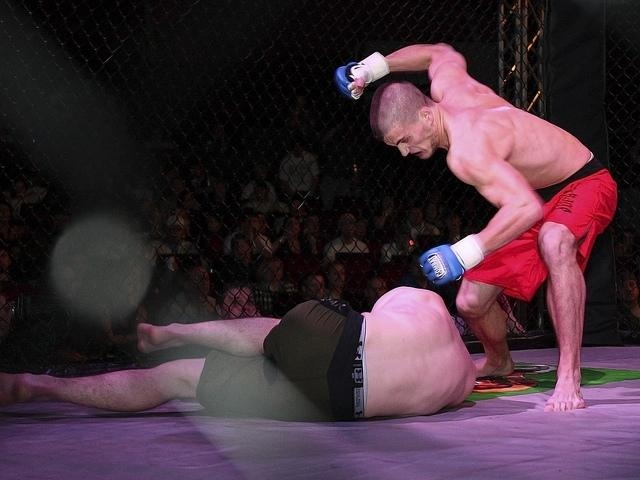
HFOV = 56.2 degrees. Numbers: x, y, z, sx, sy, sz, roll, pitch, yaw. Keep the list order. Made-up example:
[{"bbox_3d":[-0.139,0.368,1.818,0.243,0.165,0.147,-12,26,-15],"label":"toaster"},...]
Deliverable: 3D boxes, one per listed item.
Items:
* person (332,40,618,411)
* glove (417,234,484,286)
[{"bbox_3d":[0.737,-0.096,2.608,0.921,1.417,1.173,-16,16,-9],"label":"person"},{"bbox_3d":[0.463,0.065,2.161,0.231,0.150,0.098,-25,-1,5],"label":"glove"}]
